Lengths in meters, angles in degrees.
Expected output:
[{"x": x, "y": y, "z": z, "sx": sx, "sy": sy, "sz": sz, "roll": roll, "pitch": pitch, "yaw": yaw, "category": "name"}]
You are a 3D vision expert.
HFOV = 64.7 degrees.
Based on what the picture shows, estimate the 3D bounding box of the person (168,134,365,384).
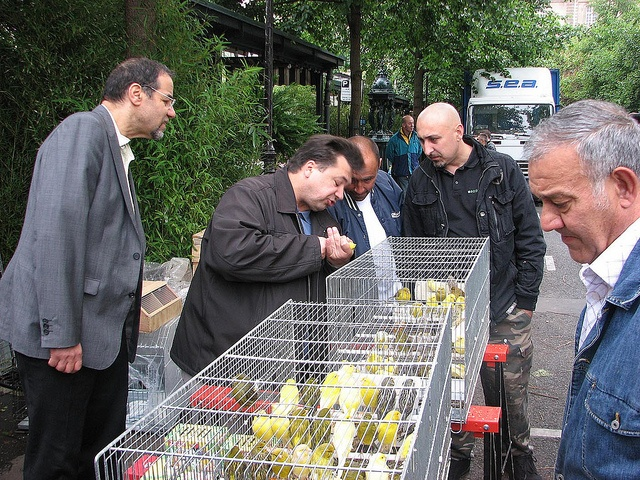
[{"x": -0.323, "y": 0.085, "z": 3.006, "sx": 1.159, "sy": 1.378, "sz": 0.525, "roll": -4, "pitch": 14, "yaw": -19, "category": "person"}]

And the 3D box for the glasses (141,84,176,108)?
[{"x": -0.970, "y": -0.881, "z": 3.031, "sx": 0.160, "sy": 0.051, "sz": 0.156, "roll": 25, "pitch": -7, "yaw": -24, "category": "glasses"}]
